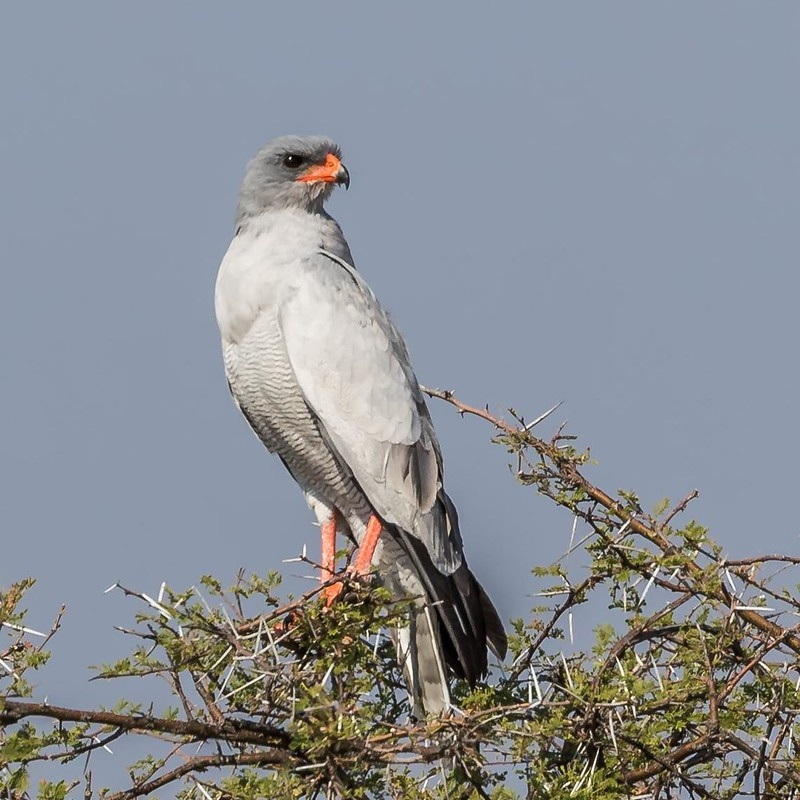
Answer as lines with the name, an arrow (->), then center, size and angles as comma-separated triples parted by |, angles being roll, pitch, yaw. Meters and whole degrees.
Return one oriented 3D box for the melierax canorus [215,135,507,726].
melierax canorus -> -0.112, 0.144, 7.493 | 1.136, 2.058, 1.933 | -1, 0, 10
